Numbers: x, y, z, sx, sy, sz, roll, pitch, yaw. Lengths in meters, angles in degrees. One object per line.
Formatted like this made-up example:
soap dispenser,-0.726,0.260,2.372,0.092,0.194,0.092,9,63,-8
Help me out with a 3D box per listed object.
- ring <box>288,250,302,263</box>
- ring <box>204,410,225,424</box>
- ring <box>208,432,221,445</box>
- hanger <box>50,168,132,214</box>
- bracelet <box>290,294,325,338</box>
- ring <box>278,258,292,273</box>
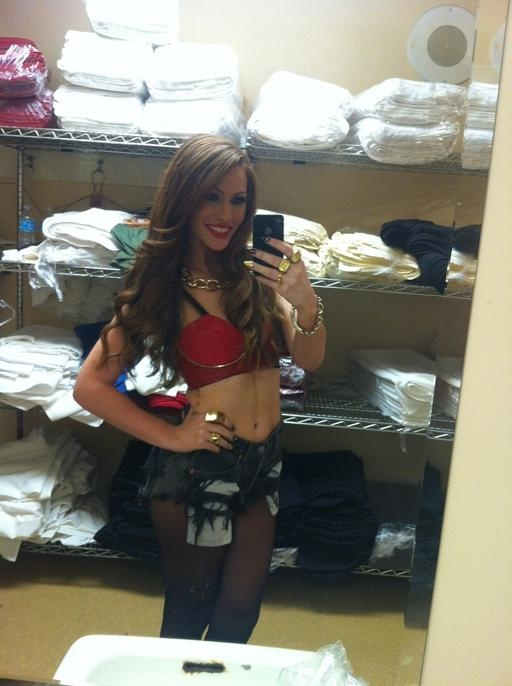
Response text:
ring,0.076,-0.165,1.119,0.020,0.022,0.026,16,50,42
ring,-0.082,0.146,1.153,0.031,0.018,0.025,2,11,-5
ring,-0.081,0.187,1.149,0.030,0.024,0.010,1,0,-4
hanger,-0.465,-0.436,1.710,0.019,0.139,0.248,32,28,35
bracelet,0.107,-0.054,1.203,0.079,0.085,0.030,2,6,2
ring,0.052,-0.142,1.089,0.026,0.024,0.023,-26,15,-36
